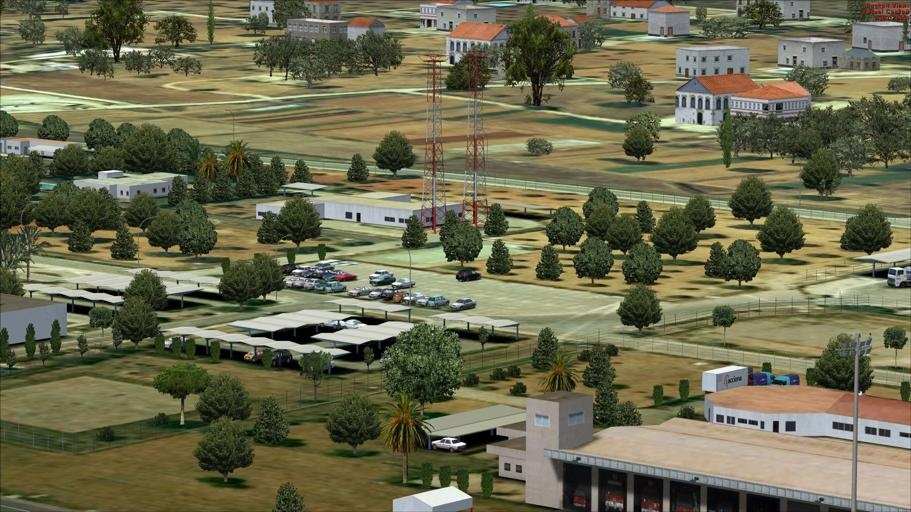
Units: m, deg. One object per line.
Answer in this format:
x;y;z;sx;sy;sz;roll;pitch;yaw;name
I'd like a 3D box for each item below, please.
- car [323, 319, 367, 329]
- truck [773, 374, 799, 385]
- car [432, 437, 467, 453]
-18.396;11.056;297.421;4.660;0.884;2.493;4;6;23;car
51.705;18.820;276.700;3.083;1.247;1.758;3;4;-27;truck
-0.937;27.413;262.795;4.595;1.321;2.106;1;6;28;car
